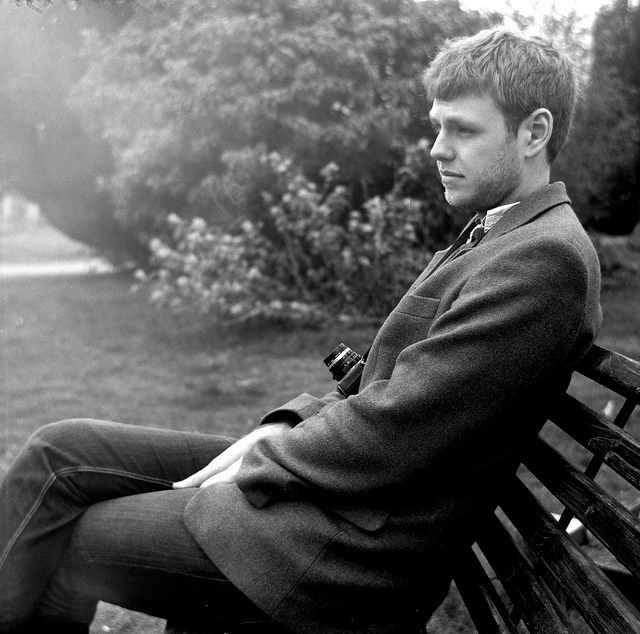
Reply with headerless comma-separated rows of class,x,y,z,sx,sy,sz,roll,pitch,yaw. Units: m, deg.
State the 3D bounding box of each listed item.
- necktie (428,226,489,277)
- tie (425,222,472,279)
necktie,0.391,-0.187,2.659,0.134,0.071,0.100,-36,28,6
tie,0.388,-0.211,2.768,0.073,0.100,0.036,32,11,-13
